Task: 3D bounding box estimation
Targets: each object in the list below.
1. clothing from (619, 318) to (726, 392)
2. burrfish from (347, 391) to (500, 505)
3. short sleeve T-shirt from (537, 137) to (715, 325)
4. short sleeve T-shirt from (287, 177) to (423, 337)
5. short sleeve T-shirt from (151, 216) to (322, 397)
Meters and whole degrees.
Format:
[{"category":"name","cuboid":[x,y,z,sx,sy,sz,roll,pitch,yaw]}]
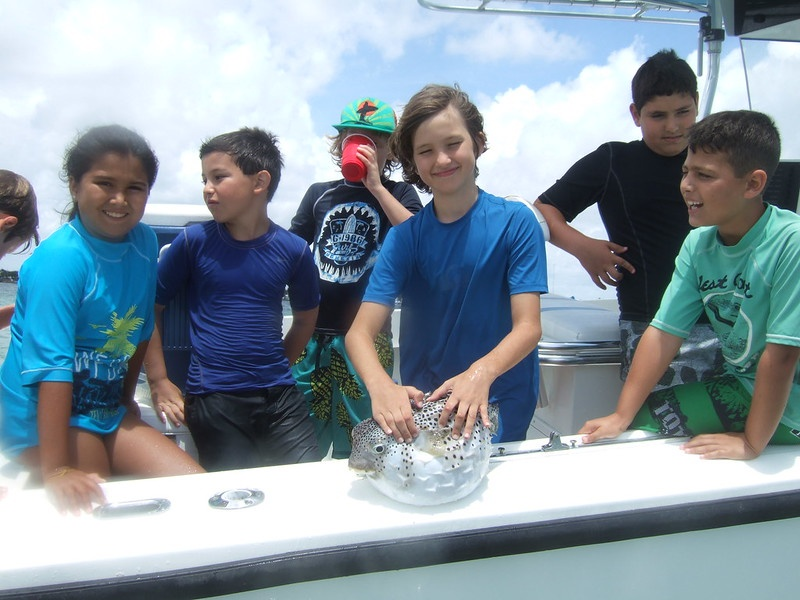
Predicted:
[{"category":"clothing","cuboid":[1.168,0.205,2.550,0.285,0.310,0.080,-10,-8,7]},{"category":"burrfish","cuboid":[0.051,0.381,1.703,0.314,0.197,0.232,-5,-5,-15]},{"category":"short sleeve T-shirt","cuboid":[1.141,-0.301,2.867,0.983,0.831,0.313,2,-7,-12]},{"category":"short sleeve T-shirt","cuboid":[-0.242,-0.184,2.758,0.582,0.674,0.166,5,-2,8]},{"category":"short sleeve T-shirt","cuboid":[-0.640,0.024,2.387,0.642,0.770,0.332,1,-10,-26]}]
